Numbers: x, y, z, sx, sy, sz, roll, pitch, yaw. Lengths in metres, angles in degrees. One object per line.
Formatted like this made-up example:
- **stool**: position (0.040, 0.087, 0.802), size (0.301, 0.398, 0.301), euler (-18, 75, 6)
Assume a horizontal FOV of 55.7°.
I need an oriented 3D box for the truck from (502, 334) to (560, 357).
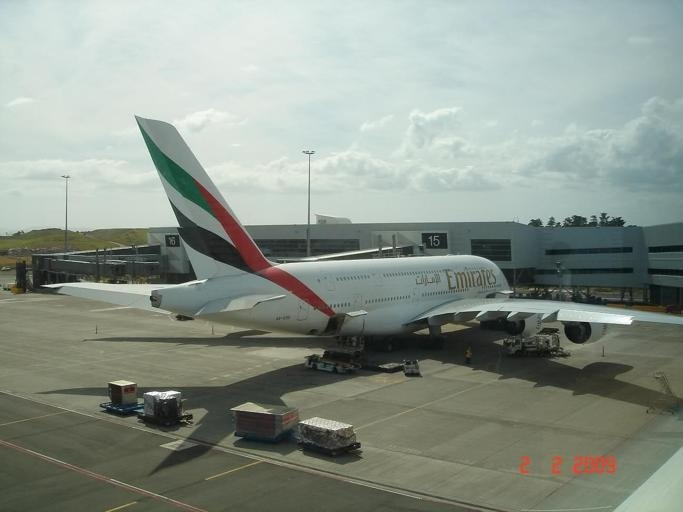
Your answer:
- **truck**: position (11.820, 5.569, 40.187), size (3.067, 0.813, 1.458), euler (0, 2, 6)
